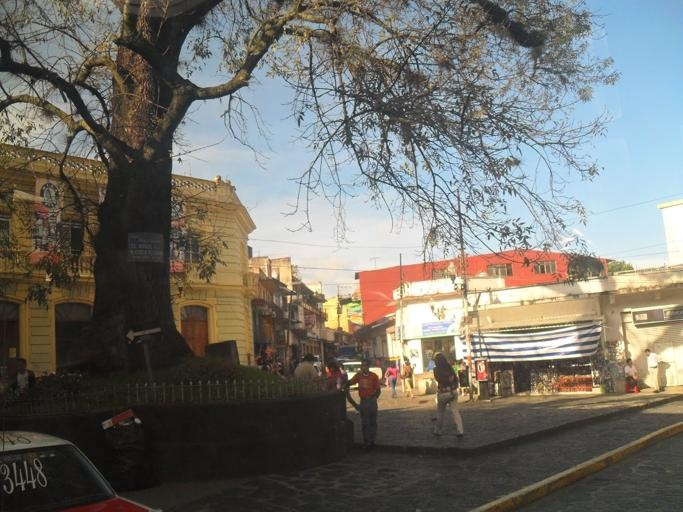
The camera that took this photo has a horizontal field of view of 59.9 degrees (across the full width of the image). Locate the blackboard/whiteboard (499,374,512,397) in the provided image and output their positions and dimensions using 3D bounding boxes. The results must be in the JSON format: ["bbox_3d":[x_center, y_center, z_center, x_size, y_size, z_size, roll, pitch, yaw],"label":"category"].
[{"bbox_3d":[7.715,6.021,28.007,0.758,1.023,0.336,-1,-8,-23],"label":"blackboard/whiteboard"}]

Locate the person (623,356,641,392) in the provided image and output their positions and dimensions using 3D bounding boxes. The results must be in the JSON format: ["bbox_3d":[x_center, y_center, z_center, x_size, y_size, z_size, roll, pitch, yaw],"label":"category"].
[{"bbox_3d":[12.705,5.226,26.046,0.516,1.401,0.903,-8,-8,27],"label":"person"}]
